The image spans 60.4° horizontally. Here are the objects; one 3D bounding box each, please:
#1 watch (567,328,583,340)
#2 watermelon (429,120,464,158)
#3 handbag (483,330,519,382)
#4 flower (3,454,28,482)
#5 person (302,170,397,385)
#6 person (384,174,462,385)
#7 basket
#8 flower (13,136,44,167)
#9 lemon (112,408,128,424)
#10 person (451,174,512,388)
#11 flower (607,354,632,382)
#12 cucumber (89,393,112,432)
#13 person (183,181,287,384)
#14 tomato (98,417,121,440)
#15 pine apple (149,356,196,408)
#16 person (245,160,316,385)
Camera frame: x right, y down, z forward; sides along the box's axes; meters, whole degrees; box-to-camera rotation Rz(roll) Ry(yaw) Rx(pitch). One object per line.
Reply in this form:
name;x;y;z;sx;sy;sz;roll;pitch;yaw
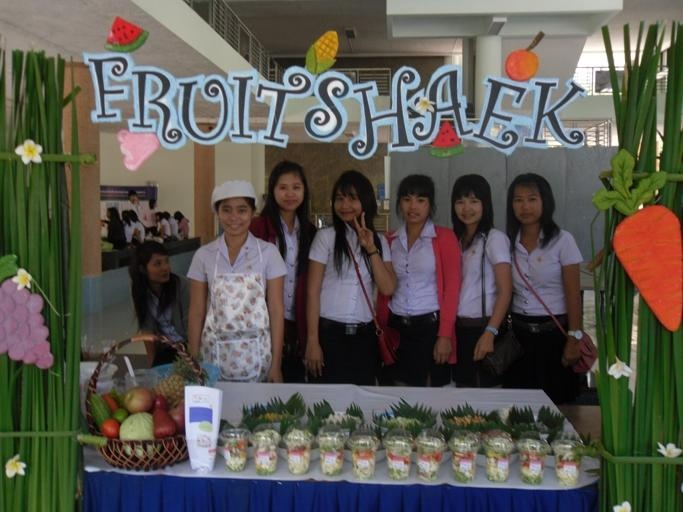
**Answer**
watch;1.218;0.408;3.062;0.056;0.038;0.055;-2;-8;37
watermelon;0.404;-0.467;2.291;0.118;0.133;0.137;-2;1;-4
handbag;0.842;0.510;3.087;0.184;0.224;0.076;-2;1;-12
flower;-0.993;0.645;1.788;0.064;0.069;0.028;3;6;-17
person;0.046;0.156;3.233;0.406;1.220;0.430;0;2;-3
person;0.423;0.044;3.158;0.361;1.210;0.369;0;10;1
basket;-0.668;0.513;2.001;0.334;0.476;0.309;-11;15;-39
flower;-0.943;-0.315;1.773;0.078;0.075;0.035;-2;1;7
lemon;-0.729;0.525;1.936;0.038;0.042;0.039;11;4;12
person;0.690;0.117;3.196;0.339;1.092;0.380;0;2;0
flower;0.817;0.329;1.723;0.067;0.069;0.055;-1;1;12
cucumber;-0.799;0.512;1.944;0.056;0.120;0.037;-17;-10;-44
person;-0.484;0.081;2.751;0.421;1.011;0.402;-2;9;-12
tomato;-0.741;0.554;1.886;0.054;0.060;0.057;-1;-30;-7
pine apple;-0.607;0.456;2.147;0.200;0.205;0.180;4;-12;-16
person;-0.323;0.104;3.133;0.298;1.264;0.302;-2;8;-4
